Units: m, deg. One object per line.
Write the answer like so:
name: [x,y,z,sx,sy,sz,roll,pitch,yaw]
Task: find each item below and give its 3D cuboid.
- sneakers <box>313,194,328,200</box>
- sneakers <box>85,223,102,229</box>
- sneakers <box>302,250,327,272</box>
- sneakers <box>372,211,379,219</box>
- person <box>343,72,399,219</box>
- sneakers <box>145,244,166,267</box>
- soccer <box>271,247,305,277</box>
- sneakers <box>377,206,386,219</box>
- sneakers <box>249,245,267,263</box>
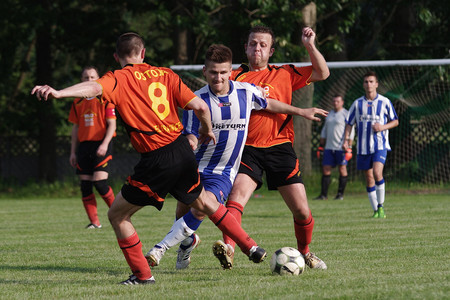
sneakers: [2.556,1.260,20.051,0.396,0.201,0.146,3,-1,5]
sneakers: [-2.964,1.688,16.555,0.339,0.169,0.132,7,0,-2]
sneakers: [1.637,2.038,13.667,0.482,0.230,0.199,27,36,15]
sneakers: [3.426,1.483,16.952,0.115,0.174,0.369,-1,-4,23]
person: [3.434,-0.137,16.989,0.894,3.286,0.606,0,4,12]
sneakers: [-1.260,1.883,13.256,0.215,0.261,0.539,42,16,-1]
soccer: [1.103,2.016,13.322,0.462,0.552,0.493,-5,-13,11]
sneakers: [3.552,1.418,16.888,0.111,0.152,0.341,-7,24,7]
sneakers: [0.558,1.857,13.221,0.301,0.305,0.231,15,14,42]
